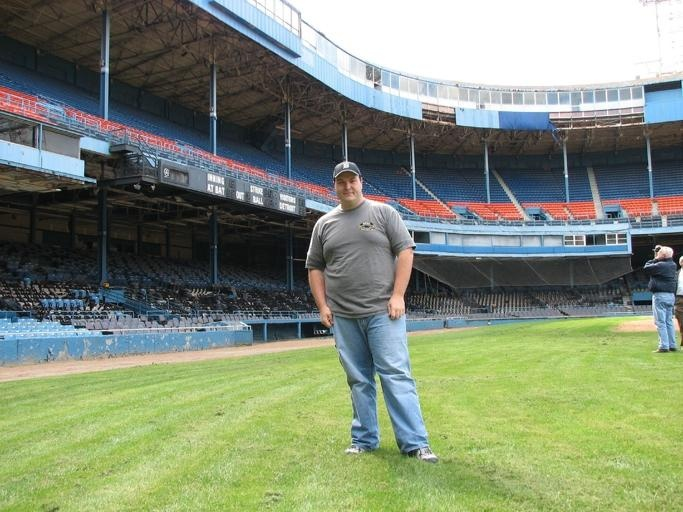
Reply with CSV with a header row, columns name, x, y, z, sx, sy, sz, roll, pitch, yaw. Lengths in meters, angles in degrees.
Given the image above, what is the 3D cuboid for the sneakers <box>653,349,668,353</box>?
name,x,y,z,sx,sy,sz,roll,pitch,yaw
sneakers,5.081,1.505,9.402,0.219,0.080,0.076,4,-6,20

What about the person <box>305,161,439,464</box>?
name,x,y,z,sx,sy,sz,roll,pitch,yaw
person,0.245,0.372,5.157,0.651,1.862,1.094,-2,-2,-40

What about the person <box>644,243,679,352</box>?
name,x,y,z,sx,sy,sz,roll,pitch,yaw
person,5.264,0.684,9.701,0.455,1.695,0.803,-3,-2,27

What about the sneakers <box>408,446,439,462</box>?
name,x,y,z,sx,sy,sz,roll,pitch,yaw
sneakers,0.665,1.602,4.794,0.253,0.088,0.086,-5,0,32

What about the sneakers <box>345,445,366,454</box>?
name,x,y,z,sx,sy,sz,roll,pitch,yaw
sneakers,0.112,1.625,4.952,0.154,0.064,0.060,18,-41,7
